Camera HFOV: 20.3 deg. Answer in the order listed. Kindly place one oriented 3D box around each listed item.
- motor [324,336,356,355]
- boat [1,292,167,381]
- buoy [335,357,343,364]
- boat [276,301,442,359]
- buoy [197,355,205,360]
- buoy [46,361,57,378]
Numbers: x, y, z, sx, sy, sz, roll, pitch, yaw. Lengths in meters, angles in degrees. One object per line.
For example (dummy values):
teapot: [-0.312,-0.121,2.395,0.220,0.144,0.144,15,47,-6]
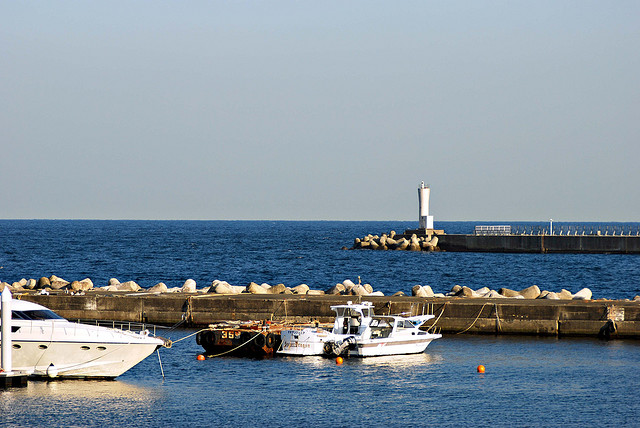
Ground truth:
motor: [1.523,9.203,118.080,1.712,1.111,0.846,-20,-17,-7]
boat: [-13.601,8.653,114.503,14.823,4.741,4.120,1,4,1]
buoy: [1.374,9.980,116.925,0.336,0.307,0.321,1,-1,-9]
boat: [2.787,8.143,119.522,10.551,3.828,3.995,-1,-6,-1]
buoy: [-7.716,9.835,117.657,0.484,0.310,0.545,-1,-6,-7]
buoy: [-16.885,10.348,113.058,0.707,0.569,0.911,1,2,3]
